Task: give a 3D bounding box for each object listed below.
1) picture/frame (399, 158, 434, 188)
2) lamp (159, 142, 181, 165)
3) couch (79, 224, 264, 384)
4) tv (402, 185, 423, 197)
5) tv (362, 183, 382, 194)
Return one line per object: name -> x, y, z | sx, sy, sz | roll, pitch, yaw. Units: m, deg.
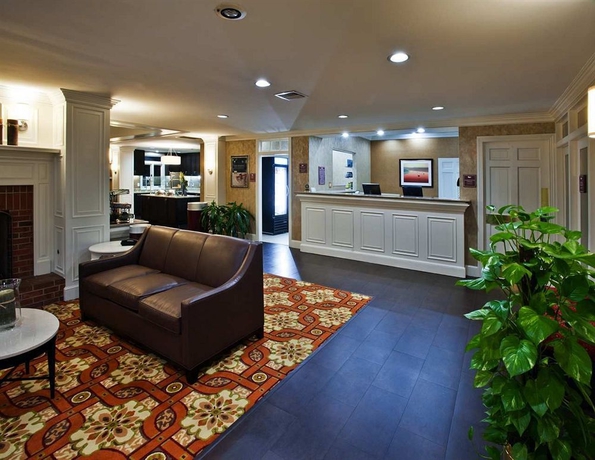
picture/frame -> 2.898, -1.381, 8.548 | 1.015, 0.881, 0.098 | 2, 3, 35
lamp -> -3.922, -2.352, 10.842 | 0.650, 0.741, 0.657 | 3, 5, 31
couch -> -1.340, 0.546, 3.554 | 1.739, 0.909, 0.962 | 9, 13, 29
tv -> 1.910, -0.647, 5.900 | 0.305, 0.149, 0.124 | 8, 15, 28
tv -> 1.339, -0.746, 6.352 | 0.295, 0.284, 0.226 | 5, 22, 37
